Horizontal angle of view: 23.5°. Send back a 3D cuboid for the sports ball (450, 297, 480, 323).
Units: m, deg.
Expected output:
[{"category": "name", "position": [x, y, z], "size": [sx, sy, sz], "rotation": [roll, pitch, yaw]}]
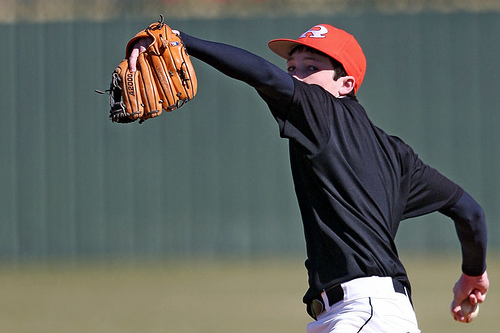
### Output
[{"category": "sports ball", "position": [2.522, 1.609, 14.044], "size": [0.137, 0.291, 0.385], "rotation": [21, 39, 15]}]
